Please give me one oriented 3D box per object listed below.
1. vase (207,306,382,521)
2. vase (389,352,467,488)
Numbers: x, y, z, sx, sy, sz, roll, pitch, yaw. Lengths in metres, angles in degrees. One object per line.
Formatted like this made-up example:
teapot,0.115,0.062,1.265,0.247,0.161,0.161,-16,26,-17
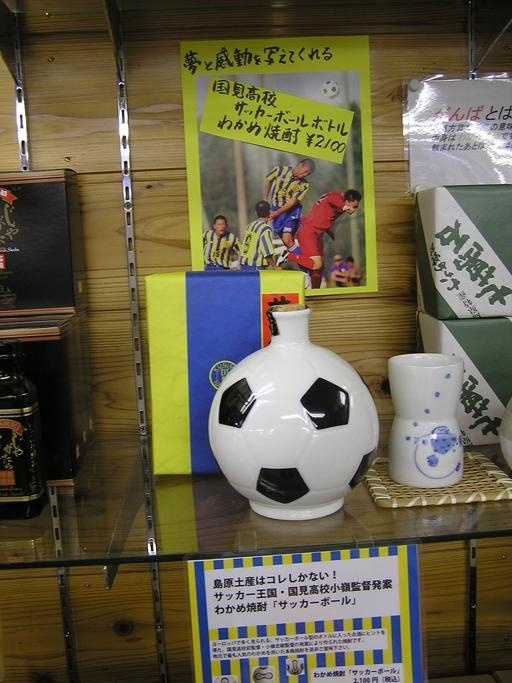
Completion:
vase,0.045,0.083,0.745,0.200,0.230,0.114,-6,13,-4
vase,0.236,0.104,0.866,0.100,0.171,0.125,-1,14,15
